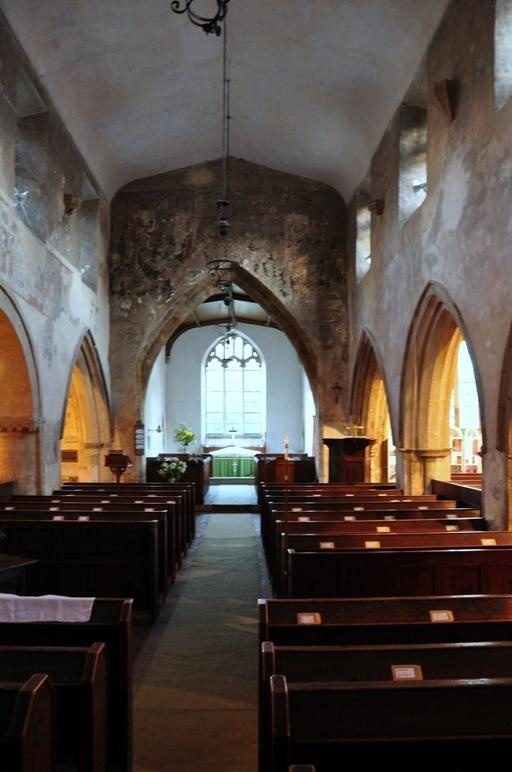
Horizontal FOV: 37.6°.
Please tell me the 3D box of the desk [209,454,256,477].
[{"bbox_3d":[-0.600,2.045,19.160,1.072,0.534,0.289,-1,-3,12],"label":"desk"}]
